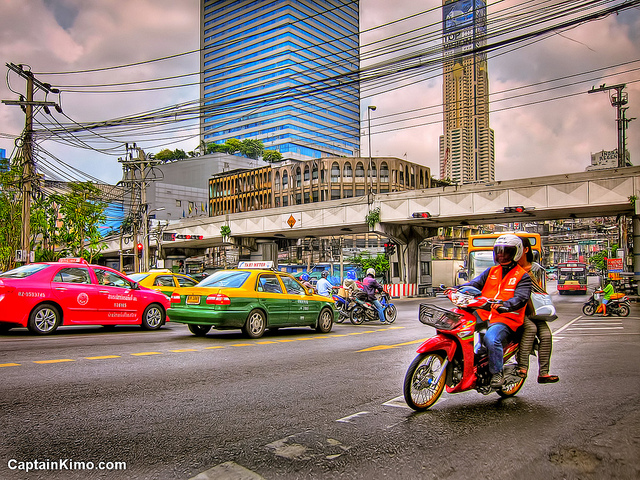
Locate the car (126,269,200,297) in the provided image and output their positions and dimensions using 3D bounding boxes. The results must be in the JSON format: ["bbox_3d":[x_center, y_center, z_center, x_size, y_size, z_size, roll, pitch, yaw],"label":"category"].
[{"bbox_3d":[-4.766,1.353,20.629,1.101,0.845,2.404,-2,-4,40],"label":"car"}]

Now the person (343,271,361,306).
[{"bbox_3d":[1.088,1.486,20.783,0.482,0.604,1.003,1,2,19],"label":"person"}]

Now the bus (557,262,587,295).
[{"bbox_3d":[20.585,2.908,51.712,1.781,2.057,3.449,0,0,20],"label":"bus"}]

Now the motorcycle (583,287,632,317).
[{"bbox_3d":[11.292,2.502,24.935,1.579,1.038,1.805,2,1,30],"label":"motorcycle"}]

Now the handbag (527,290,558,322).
[{"bbox_3d":[3.095,0.966,8.911,0.338,0.663,0.620,-6,-9,31],"label":"handbag"}]

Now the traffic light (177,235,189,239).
[{"bbox_3d":[-11.961,-0.272,55.195,1.115,0.350,0.664,1,1,-12],"label":"traffic light"}]

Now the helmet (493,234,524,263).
[{"bbox_3d":[2.507,0.122,8.712,0.402,0.422,0.340,4,-6,-32],"label":"helmet"}]

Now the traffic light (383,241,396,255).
[{"bbox_3d":[4.257,0.515,39.611,0.735,0.842,0.765,2,0,19],"label":"traffic light"}]

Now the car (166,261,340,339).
[{"bbox_3d":[-1.707,1.458,15.801,1.622,1.252,3.551,-4,-5,42],"label":"car"}]

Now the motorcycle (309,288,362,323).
[{"bbox_3d":[0.574,2.209,20.733,1.629,1.124,0.910,-1,-4,-23],"label":"motorcycle"}]

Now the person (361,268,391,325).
[{"bbox_3d":[1.712,1.799,20.089,0.739,1.834,1.345,2,1,26],"label":"person"}]

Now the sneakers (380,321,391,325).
[{"bbox_3d":[2.107,2.687,20.355,0.311,0.139,0.105,-8,-5,43],"label":"sneakers"}]

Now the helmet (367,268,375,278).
[{"bbox_3d":[1.587,1.016,19.703,0.282,0.242,0.212,12,-4,-41],"label":"helmet"}]

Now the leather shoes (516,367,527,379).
[{"bbox_3d":[2.791,1.857,8.761,0.150,0.079,0.120,0,1,26],"label":"leather shoes"}]
